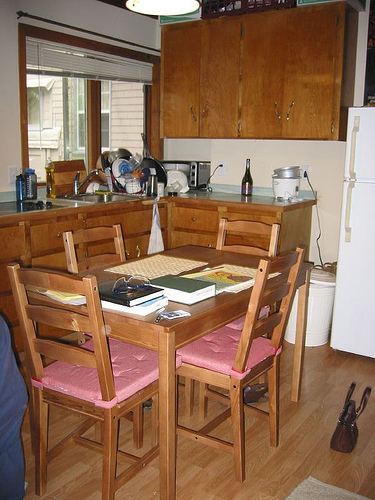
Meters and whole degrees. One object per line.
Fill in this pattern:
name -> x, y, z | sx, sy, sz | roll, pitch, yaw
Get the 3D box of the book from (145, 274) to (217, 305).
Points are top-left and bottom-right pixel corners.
book -> -0.018, 0.125, 1.304 | 0.116, 0.027, 0.117 | 10, 14, 30

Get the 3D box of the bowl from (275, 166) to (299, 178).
bowl -> 0.756, -0.586, 3.071 | 0.173, 0.084, 0.089 | 2, 5, 15

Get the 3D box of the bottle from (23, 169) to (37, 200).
bottle -> -1.122, -0.468, 2.908 | 0.074, 0.221, 0.203 | 2, 5, 9

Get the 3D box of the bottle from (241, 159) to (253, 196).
bottle -> 0.521, -0.622, 3.510 | 0.095, 0.315, 0.204 | 2, 5, 10

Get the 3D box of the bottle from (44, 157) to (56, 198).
bottle -> -1.034, -0.531, 3.064 | 0.069, 0.277, 0.114 | -1, 5, -19

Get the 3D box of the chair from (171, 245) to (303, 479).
chair -> 0.151, 0.428, 1.613 | 0.525, 0.806, 0.470 | 3, 7, 25

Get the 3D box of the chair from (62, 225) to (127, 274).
chair -> -0.482, -0.004, 2.042 | 0.216, 0.376, 0.205 | -15, 23, -38

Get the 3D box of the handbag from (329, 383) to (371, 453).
handbag -> 0.727, 0.765, 1.808 | 0.110, 0.311, 0.209 | 20, 27, 29

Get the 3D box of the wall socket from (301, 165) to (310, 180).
wall socket -> 0.926, -0.622, 3.240 | 0.030, 0.120, 0.124 | -1, 5, -19

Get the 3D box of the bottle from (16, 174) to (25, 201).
bottle -> -1.174, -0.431, 2.810 | 0.087, 0.180, 0.050 | 3, 5, 20

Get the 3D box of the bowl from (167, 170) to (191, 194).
bowl -> -0.088, -0.614, 3.652 | 0.190, 0.203, 0.094 | 1, 5, 1

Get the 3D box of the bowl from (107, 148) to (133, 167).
bowl -> -0.579, -0.801, 3.410 | 0.172, 0.174, 0.105 | -20, 44, -11
